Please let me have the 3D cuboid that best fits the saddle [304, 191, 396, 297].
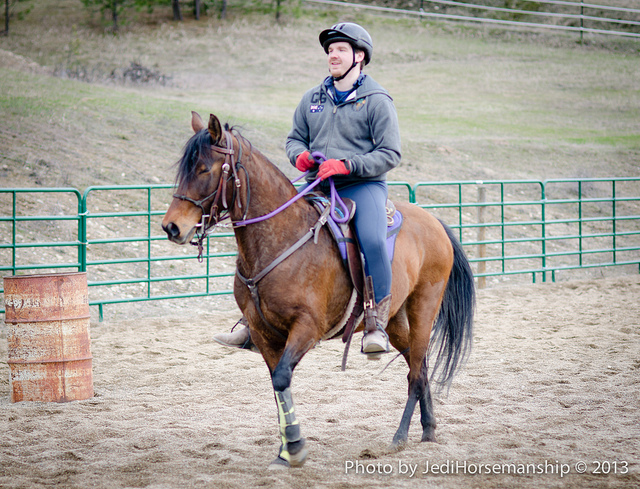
[{"bbox_3d":[0.658,-0.208,31.625,1.628,2.419,1.472,-6,16,-33],"label":"saddle"}]
